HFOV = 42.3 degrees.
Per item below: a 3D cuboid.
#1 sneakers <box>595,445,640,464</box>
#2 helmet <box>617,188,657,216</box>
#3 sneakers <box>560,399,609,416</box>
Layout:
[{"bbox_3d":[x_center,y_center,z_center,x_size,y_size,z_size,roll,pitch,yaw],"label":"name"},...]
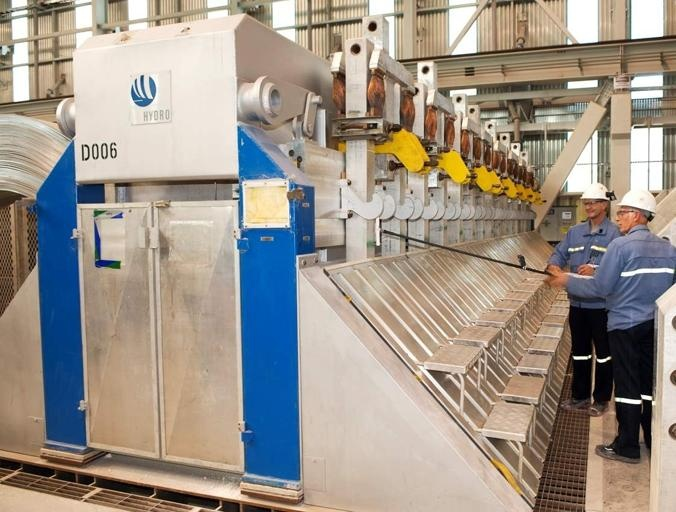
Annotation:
[{"bbox_3d":[2.497,1.752,7.846,0.340,0.153,0.147,12,2,32],"label":"sneakers"},{"bbox_3d":[2.736,-0.478,8.058,0.281,0.176,0.247,18,6,14],"label":"helmet"},{"bbox_3d":[2.440,1.520,8.725,0.460,0.205,0.180,7,0,7],"label":"sneakers"}]
